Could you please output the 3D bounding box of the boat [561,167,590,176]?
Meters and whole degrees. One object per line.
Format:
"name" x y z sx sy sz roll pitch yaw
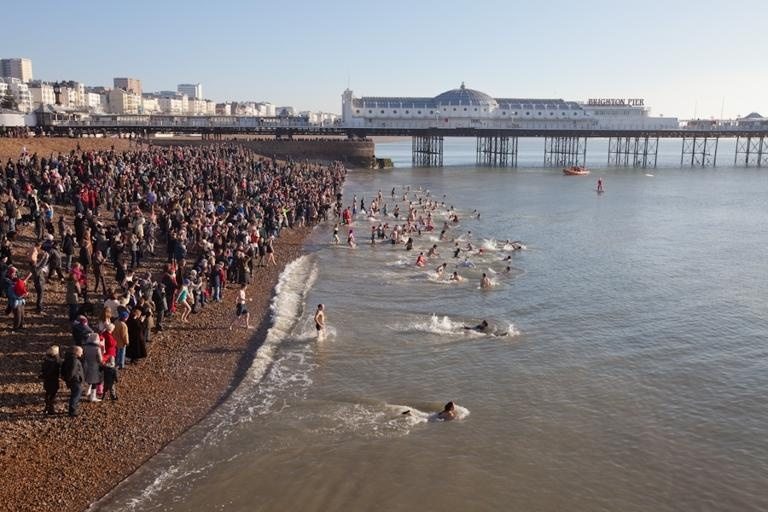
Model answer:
"boat" 29.283 -11.745 117.171 3.715 1.144 2.115 -9 17 -37
